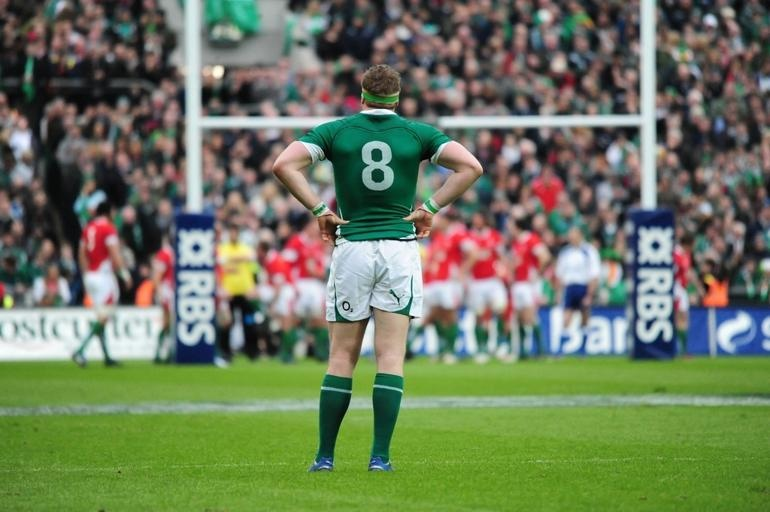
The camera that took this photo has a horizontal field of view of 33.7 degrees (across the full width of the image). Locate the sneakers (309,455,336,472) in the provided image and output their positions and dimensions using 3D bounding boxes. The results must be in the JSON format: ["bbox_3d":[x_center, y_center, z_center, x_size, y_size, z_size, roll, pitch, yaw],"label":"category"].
[{"bbox_3d":[-0.632,2.163,13.090,0.282,0.156,0.172,-3,8,-17],"label":"sneakers"}]

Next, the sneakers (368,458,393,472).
[{"bbox_3d":[-0.034,2.178,13.067,0.102,0.125,0.265,-3,-8,45],"label":"sneakers"}]
